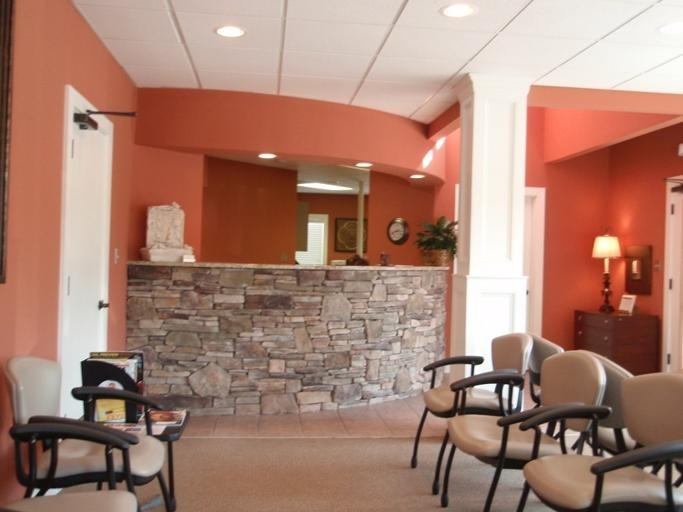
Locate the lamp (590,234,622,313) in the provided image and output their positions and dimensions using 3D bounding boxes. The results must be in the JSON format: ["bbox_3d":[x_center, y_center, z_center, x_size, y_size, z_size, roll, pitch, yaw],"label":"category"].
[{"bbox_3d":[3.310,0.198,7.141,0.319,0.922,0.600,5,9,26],"label":"lamp"}]

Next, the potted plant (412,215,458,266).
[{"bbox_3d":[1.028,-0.160,6.395,0.625,0.522,0.574,2,-5,-7],"label":"potted plant"}]

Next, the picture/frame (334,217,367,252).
[{"bbox_3d":[0.155,-0.421,10.487,0.846,0.692,0.077,2,1,-7],"label":"picture/frame"}]

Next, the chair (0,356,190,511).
[{"bbox_3d":[-1.446,0.956,3.316,0.984,0.942,0.893,0,-3,1],"label":"chair"}]

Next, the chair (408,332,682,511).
[{"bbox_3d":[1.244,0.939,3.794,1.216,1.043,1.377,1,-5,-14],"label":"chair"}]

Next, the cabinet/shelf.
[{"bbox_3d":[3.315,0.940,6.904,0.543,0.627,0.760,-4,9,-5],"label":"cabinet/shelf"}]

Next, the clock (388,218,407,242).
[{"bbox_3d":[0.771,-0.342,7.709,0.296,0.353,0.068,-2,9,-24],"label":"clock"}]
